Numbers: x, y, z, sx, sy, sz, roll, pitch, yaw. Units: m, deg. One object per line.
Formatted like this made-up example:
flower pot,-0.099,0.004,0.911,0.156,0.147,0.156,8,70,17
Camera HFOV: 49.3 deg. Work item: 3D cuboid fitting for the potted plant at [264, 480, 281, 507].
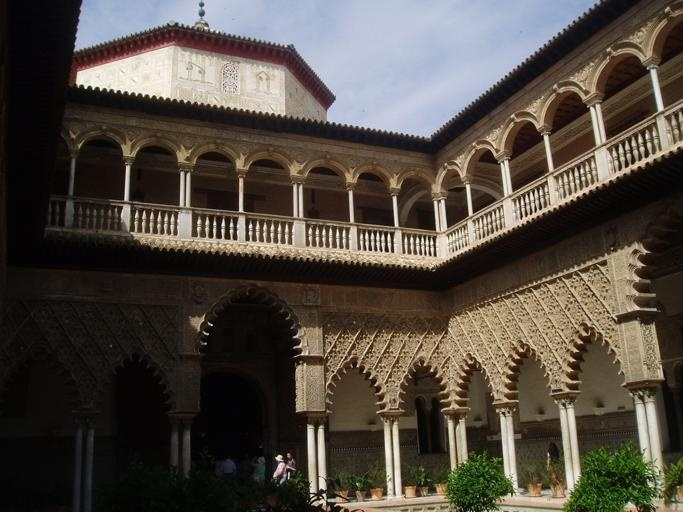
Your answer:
potted plant,-0.687,2.391,7.445,0.152,0.267,0.577,1,-20,-5

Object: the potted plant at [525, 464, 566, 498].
potted plant,4.053,4.489,14.857,0.856,0.829,0.773,-7,-11,25
